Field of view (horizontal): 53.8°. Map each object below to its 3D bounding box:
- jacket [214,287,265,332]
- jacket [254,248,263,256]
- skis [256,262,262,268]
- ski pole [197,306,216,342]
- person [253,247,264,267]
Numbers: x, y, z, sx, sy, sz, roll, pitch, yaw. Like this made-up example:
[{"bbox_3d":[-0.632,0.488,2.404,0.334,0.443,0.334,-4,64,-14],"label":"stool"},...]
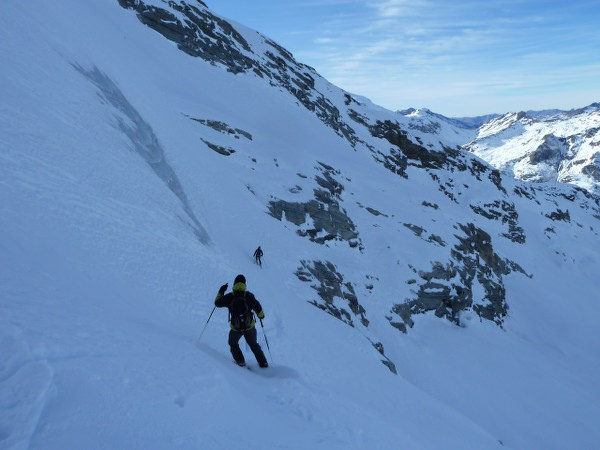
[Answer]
[{"bbox_3d":[-2.834,4.298,31.008,2.549,2.373,1.784,3,29,28],"label":"jacket"},{"bbox_3d":[-2.874,1.917,40.818,0.430,0.740,0.251,7,54,5],"label":"jacket"},{"bbox_3d":[-2.790,2.793,40.238,0.281,0.068,0.263,33,25,-16],"label":"skis"},{"bbox_3d":[-5.058,5.456,31.934,0.046,0.087,2.619,35,69,2],"label":"ski pole"},{"bbox_3d":[-2.884,2.280,40.768,0.961,2.041,0.727,6,61,-6],"label":"person"}]
